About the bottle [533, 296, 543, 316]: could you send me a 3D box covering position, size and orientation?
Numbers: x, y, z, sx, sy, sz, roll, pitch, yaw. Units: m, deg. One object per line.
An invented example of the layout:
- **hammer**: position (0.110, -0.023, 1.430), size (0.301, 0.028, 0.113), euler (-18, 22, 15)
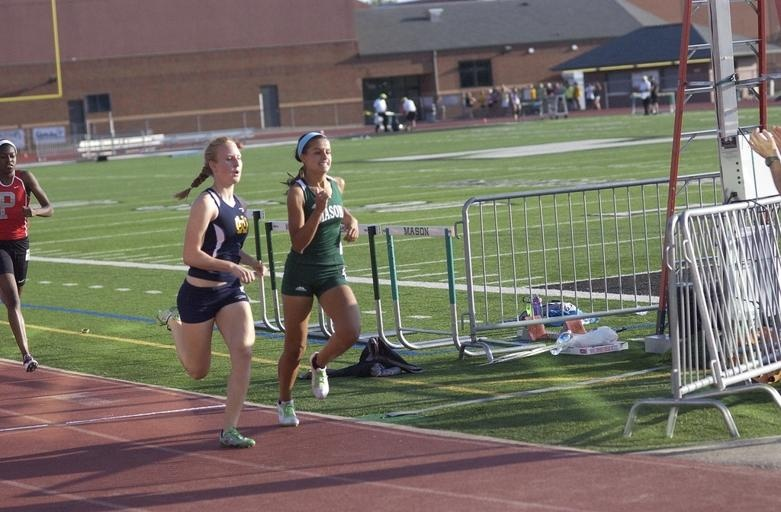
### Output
- **bottle**: position (1.930, 0.649, 18.719), size (0.124, 0.077, 0.344), euler (-5, 27, 8)
